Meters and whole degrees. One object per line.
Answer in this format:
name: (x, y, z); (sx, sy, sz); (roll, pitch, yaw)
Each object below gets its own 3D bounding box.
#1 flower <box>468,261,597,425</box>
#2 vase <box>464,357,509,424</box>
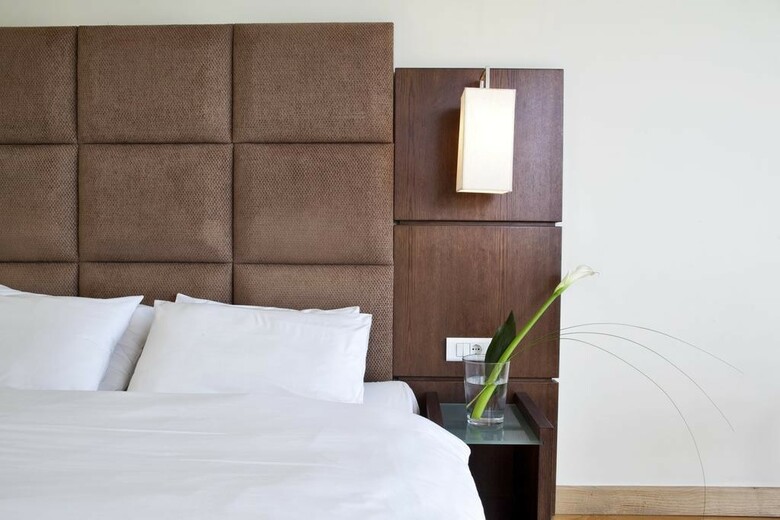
flower: (0.622, 0.368, 2.819); (0.504, 0.517, 0.206); (4, 2, 7)
vase: (0.434, 0.588, 2.923); (0.256, 0.294, 0.254); (1, 0, 30)
